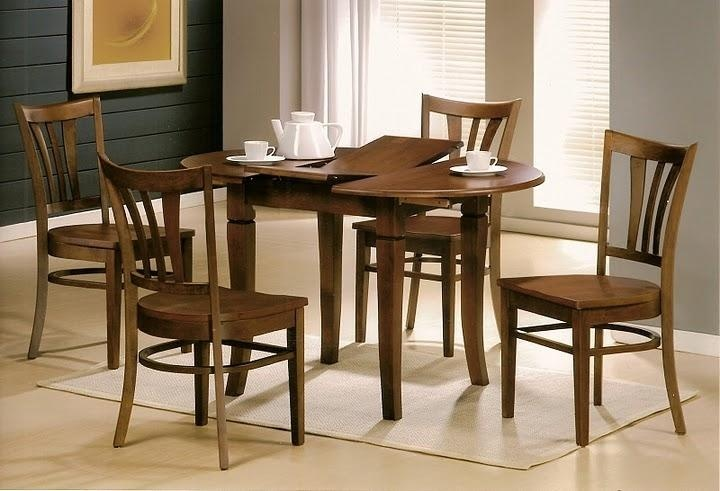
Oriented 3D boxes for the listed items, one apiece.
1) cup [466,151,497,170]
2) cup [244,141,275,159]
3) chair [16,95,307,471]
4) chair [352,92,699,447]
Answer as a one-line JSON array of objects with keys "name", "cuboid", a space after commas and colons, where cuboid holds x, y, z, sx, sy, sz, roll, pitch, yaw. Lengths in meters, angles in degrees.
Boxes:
[{"name": "cup", "cuboid": [0.501, -0.339, 2.772, 0.132, 0.075, 0.098, 0, 5, -16]}, {"name": "cup", "cuboid": [-0.442, -0.408, 2.970, 0.154, 0.082, 0.113, -2, 2, -29]}, {"name": "chair", "cuboid": [-1.015, 0.178, 3.234, 1.981, 1.266, 0.891, 14, 15, 33]}, {"name": "chair", "cuboid": [0.805, 0.131, 3.188, 0.837, 1.311, 2.008, -4, 6, -36]}]
